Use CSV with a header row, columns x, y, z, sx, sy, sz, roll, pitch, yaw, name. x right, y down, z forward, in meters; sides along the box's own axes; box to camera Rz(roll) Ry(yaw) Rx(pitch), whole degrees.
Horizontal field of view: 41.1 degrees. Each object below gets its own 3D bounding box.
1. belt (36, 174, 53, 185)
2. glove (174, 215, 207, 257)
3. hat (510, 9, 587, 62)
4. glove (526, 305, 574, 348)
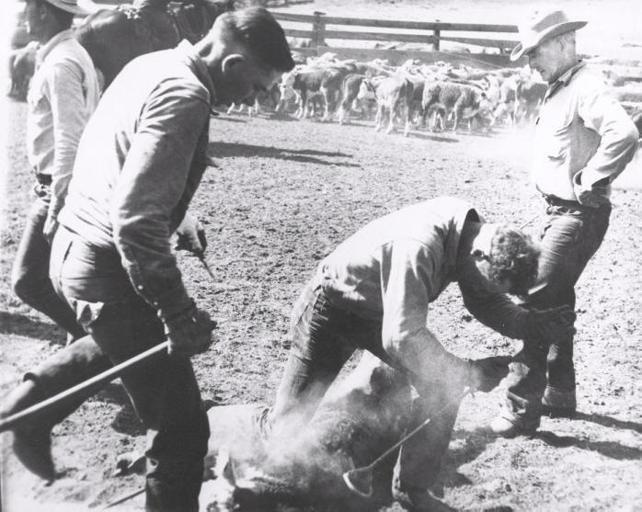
x,y,z,sx,sy,sz,roll,pitch,yaw,name
-1.244,-0.346,3.844,0.054,0.054,0.054,1,13,-2,belt
-0.558,-0.083,3.679,0.096,0.115,0.195,-16,57,-39,glove
0.989,-0.956,3.763,0.224,0.088,0.204,-38,8,11,hat
1.035,0.307,3.845,0.200,0.162,0.086,-4,15,5,glove
